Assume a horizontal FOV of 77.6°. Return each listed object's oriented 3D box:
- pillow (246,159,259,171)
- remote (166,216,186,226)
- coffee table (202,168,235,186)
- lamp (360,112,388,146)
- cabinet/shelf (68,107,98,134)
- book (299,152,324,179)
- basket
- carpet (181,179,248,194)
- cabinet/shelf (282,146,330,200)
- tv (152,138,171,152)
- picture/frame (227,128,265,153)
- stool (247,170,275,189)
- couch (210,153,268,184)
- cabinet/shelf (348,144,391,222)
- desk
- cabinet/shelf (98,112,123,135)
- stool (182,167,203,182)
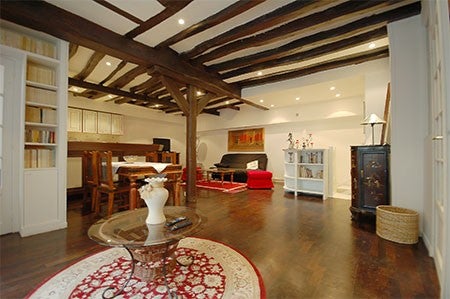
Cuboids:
[{"bbox_3d":[0.926,0.520,9.360,0.382,0.277,0.442,0,5,5],"label":"pillow"},{"bbox_3d":[-0.669,0.969,3.804,0.091,0.035,0.285,2,2,31],"label":"remote"},{"bbox_3d":[-0.081,0.958,8.959,0.569,0.288,0.840,-1,1,-44],"label":"coffee table"},{"bbox_3d":[2.866,-0.375,5.438,0.543,0.546,0.528,-1,-3,41],"label":"lamp"},{"bbox_3d":[-4.204,-0.846,8.251,0.350,0.710,0.966,-1,-2,37],"label":"cabinet/shelf"},{"bbox_3d":[2.192,0.378,7.096,0.666,0.680,0.373,2,6,26],"label":"book"},{"bbox_3d":[2.916,1.249,4.653,0.642,0.384,0.557,2,-2,-10],"label":"basket"},{"bbox_3d":[-0.083,1.072,8.495,1.523,0.157,2.060,-1,4,-4],"label":"carpet"},{"bbox_3d":[1.950,0.572,7.210,1.476,1.177,0.503,3,7,24],"label":"cabinet/shelf"},{"bbox_3d":[-2.405,-0.202,10.918,0.329,0.512,0.812,3,5,30],"label":"tv"},{"bbox_3d":[0.792,-0.336,10.389,1.798,0.866,0.041,-2,5,-36],"label":"picture/frame"},{"bbox_3d":[0.816,0.917,8.474,1.080,0.512,1.033,-1,-3,34],"label":"stool"},{"bbox_3d":[0.557,0.452,9.765,2.173,0.973,1.078,-4,-10,32],"label":"couch"},{"bbox_3d":[2.654,0.618,5.171,0.637,1.397,0.280,2,6,19],"label":"cabinet/shelf"},{"bbox_3d":[-1.026,1.349,3.799,1.459,1.001,0.871,-1,5,-5],"label":"desk"},{"bbox_3d":[-3.561,-0.842,9.108,0.988,0.679,0.420,7,13,15],"label":"cabinet/shelf"},{"bbox_3d":[-0.992,0.837,9.281,0.767,0.552,0.679,0,-1,-3],"label":"stool"}]
